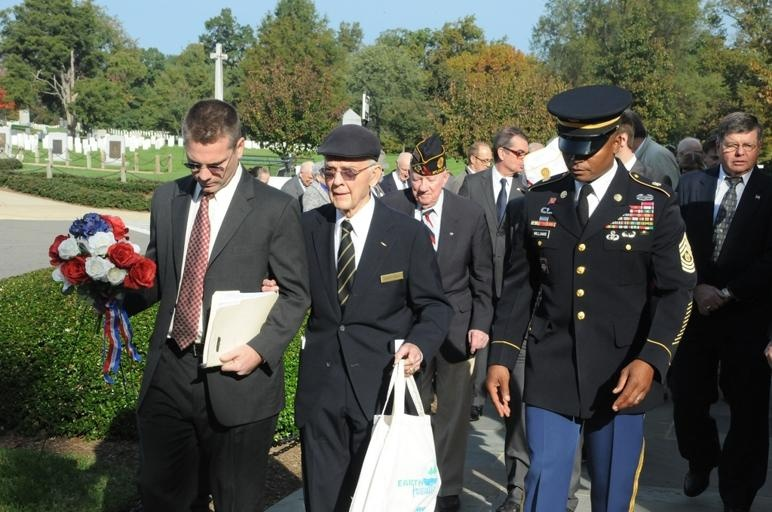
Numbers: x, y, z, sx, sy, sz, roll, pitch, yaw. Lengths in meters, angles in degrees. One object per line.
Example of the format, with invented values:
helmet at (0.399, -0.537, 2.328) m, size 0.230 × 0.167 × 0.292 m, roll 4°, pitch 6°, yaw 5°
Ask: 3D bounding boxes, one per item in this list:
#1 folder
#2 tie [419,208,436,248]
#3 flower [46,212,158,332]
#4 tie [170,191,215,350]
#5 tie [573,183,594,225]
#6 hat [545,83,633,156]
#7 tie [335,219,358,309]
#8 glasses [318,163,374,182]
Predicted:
folder at (-0.932, 0.434, 4.447) m, size 0.452 × 0.469 × 0.119 m, roll 4°, pitch 8°, yaw -42°
tie at (0.341, -0.222, 5.711) m, size 0.039 × 0.385 × 0.096 m, roll -33°, pitch -25°, yaw 31°
flower at (-1.910, 0.063, 4.776) m, size 0.736 × 0.667 × 0.330 m, roll 7°, pitch 6°, yaw 23°
tie at (-1.257, 0.133, 4.588) m, size 0.240 × 0.886 × 0.261 m, roll 0°, pitch -1°, yaw -5°
tie at (1.307, -0.345, 4.645) m, size 0.101 × 0.283 × 0.074 m, roll 6°, pitch 6°, yaw 17°
hat at (1.341, -0.907, 4.621) m, size 0.536 × 0.281 × 0.490 m, roll -36°, pitch 39°, yaw -28°
tie at (-0.274, 0.056, 4.781) m, size 0.120 × 0.606 × 0.134 m, roll 1°, pitch 1°, yaw 0°
glasses at (-0.250, -0.565, 4.727) m, size 0.336 × 0.138 × 0.115 m, roll 4°, pitch 6°, yaw -4°
